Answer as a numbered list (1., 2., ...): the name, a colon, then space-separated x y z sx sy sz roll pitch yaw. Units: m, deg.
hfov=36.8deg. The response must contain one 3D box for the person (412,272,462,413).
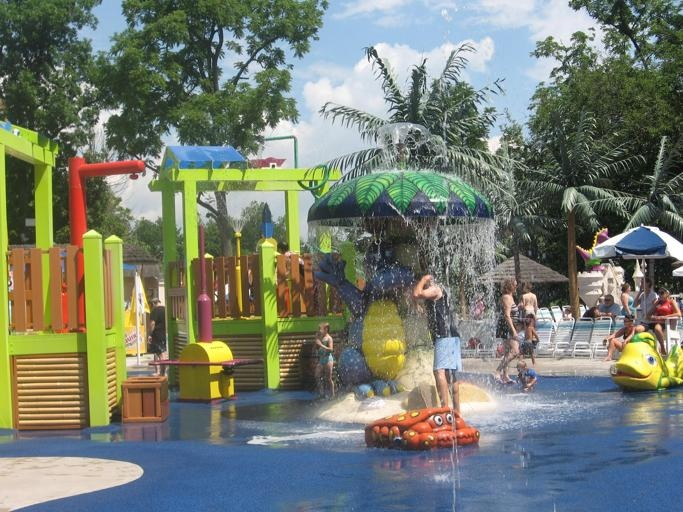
1. person: 1.743 1.522 18.223 0.626 2.448 0.892 -6 -6 42

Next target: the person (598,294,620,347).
1. person: 7.197 1.709 27.833 0.562 1.359 0.637 2 12 19

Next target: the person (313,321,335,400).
1. person: -0.344 2.165 21.443 0.409 1.550 1.147 -2 -5 -1

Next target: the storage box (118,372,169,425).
1. storage box: -3.731 2.720 19.547 0.824 0.840 0.874 -1 2 6
